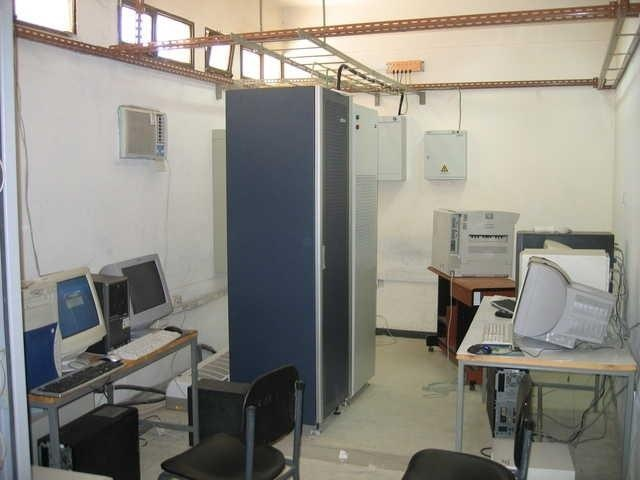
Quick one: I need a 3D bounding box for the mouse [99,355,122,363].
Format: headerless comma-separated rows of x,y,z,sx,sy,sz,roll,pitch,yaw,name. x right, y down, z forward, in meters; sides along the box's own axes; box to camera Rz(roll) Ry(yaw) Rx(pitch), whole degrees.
-1.390,0.796,3.526,0.086,0.020,0.051,6,2,19,mouse

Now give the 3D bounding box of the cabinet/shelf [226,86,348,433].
-0.258,0.135,4.504,1.079,2.787,0.616,-1,9,-1,cabinet/shelf

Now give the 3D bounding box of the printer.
1.737,0.040,6.034,0.965,0.733,0.925,-3,8,-24,printer

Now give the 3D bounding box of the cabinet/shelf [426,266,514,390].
1.673,0.920,5.949,0.615,1.072,1.675,0,2,-2,cabinet/shelf

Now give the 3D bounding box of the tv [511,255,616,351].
1.718,0.467,3.655,0.593,0.589,0.502,18,21,40,tv

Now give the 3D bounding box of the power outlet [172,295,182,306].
-1.430,0.606,5.338,0.078,0.135,0.145,1,2,12,power outlet

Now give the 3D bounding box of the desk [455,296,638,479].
1.568,0.647,3.704,0.883,0.789,1.612,1,5,18,desk

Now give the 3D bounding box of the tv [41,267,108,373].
-1.564,0.517,3.550,0.404,0.560,0.361,-20,1,1,tv

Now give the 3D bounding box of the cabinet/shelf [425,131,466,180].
1.569,-1.056,6.536,0.528,0.589,0.235,6,18,30,cabinet/shelf
